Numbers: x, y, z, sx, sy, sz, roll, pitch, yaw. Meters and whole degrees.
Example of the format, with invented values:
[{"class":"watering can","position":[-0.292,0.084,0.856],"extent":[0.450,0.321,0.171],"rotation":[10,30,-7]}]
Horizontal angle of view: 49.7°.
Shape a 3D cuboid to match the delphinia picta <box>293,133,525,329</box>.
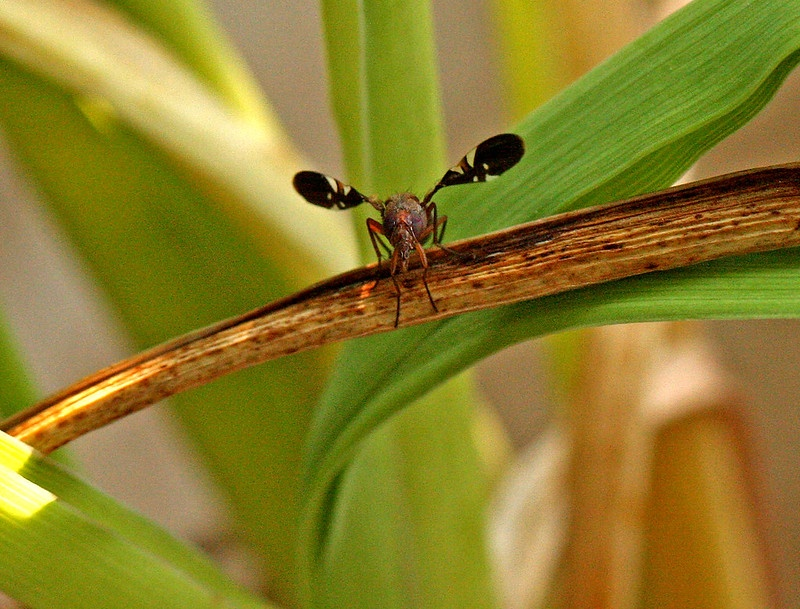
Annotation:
[{"class":"delphinia picta","position":[0.032,-0.138,1.598],"extent":[0.436,0.310,0.287],"rotation":[-10,-80,4]}]
